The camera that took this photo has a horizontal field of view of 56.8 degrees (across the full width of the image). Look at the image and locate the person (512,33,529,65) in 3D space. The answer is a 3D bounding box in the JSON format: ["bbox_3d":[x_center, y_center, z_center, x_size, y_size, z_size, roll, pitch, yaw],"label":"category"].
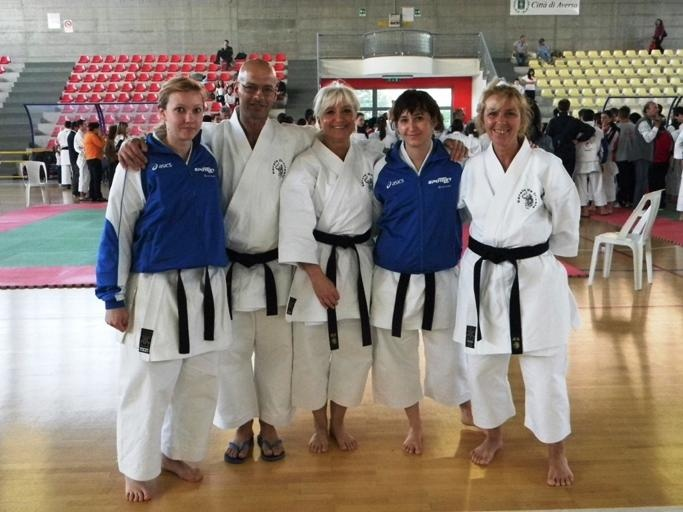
[{"bbox_3d":[4.768,-5.547,16.944,0.360,0.851,0.893,-1,11,16],"label":"person"}]

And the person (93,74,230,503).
[{"bbox_3d":[-0.816,0.152,2.978,0.638,1.940,0.299,-8,12,-20],"label":"person"}]

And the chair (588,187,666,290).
[{"bbox_3d":[2.543,-0.163,5.716,0.517,0.842,0.555,-11,12,-37],"label":"chair"}]

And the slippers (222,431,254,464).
[{"bbox_3d":[-0.521,0.999,3.254,0.143,0.095,0.388,0,1,-1],"label":"slippers"}]

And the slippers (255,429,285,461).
[{"bbox_3d":[-0.364,0.987,3.257,0.132,0.072,0.302,-2,4,-14],"label":"slippers"}]

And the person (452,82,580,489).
[{"bbox_3d":[0.836,0.122,3.067,0.578,1.930,0.408,0,12,20],"label":"person"}]

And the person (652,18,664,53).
[{"bbox_3d":[8.522,-6.056,17.126,0.354,0.941,1.027,2,12,28],"label":"person"}]
